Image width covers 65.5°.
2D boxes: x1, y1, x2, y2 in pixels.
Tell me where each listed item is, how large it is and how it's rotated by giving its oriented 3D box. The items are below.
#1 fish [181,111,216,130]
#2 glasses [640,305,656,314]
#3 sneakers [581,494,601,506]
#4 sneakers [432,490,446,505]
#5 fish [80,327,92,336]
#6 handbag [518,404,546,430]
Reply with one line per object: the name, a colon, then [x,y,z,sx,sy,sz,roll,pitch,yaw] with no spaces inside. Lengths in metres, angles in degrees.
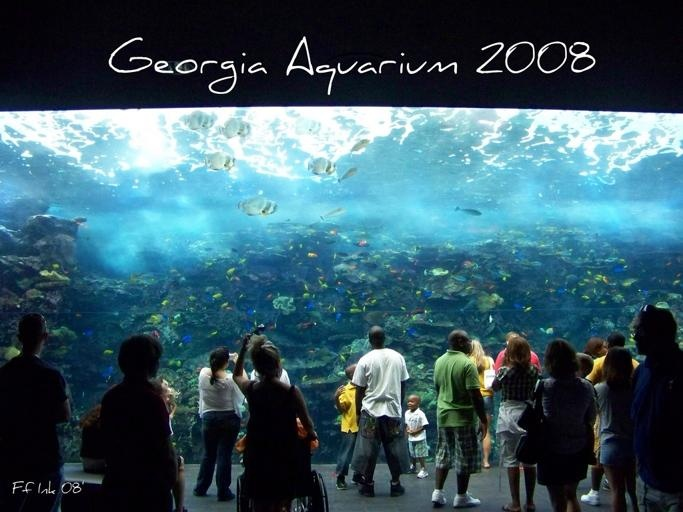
fish: [-2.146,-2.073,8.078,0.593,0.225,0.528,1,7,3]
glasses: [3.076,0.537,5.350,0.099,0.039,0.114,-28,10,5]
sneakers: [3.285,3.179,6.970,0.136,0.148,0.245,3,-5,-11]
sneakers: [1.279,3.161,6.924,0.121,0.112,0.300,-5,-16,19]
fish: [-17.063,5.040,35.538,0.496,0.423,0.469,14,-38,3]
handbag: [2.096,1.788,5.874,0.234,0.290,0.083,31,-4,1]
